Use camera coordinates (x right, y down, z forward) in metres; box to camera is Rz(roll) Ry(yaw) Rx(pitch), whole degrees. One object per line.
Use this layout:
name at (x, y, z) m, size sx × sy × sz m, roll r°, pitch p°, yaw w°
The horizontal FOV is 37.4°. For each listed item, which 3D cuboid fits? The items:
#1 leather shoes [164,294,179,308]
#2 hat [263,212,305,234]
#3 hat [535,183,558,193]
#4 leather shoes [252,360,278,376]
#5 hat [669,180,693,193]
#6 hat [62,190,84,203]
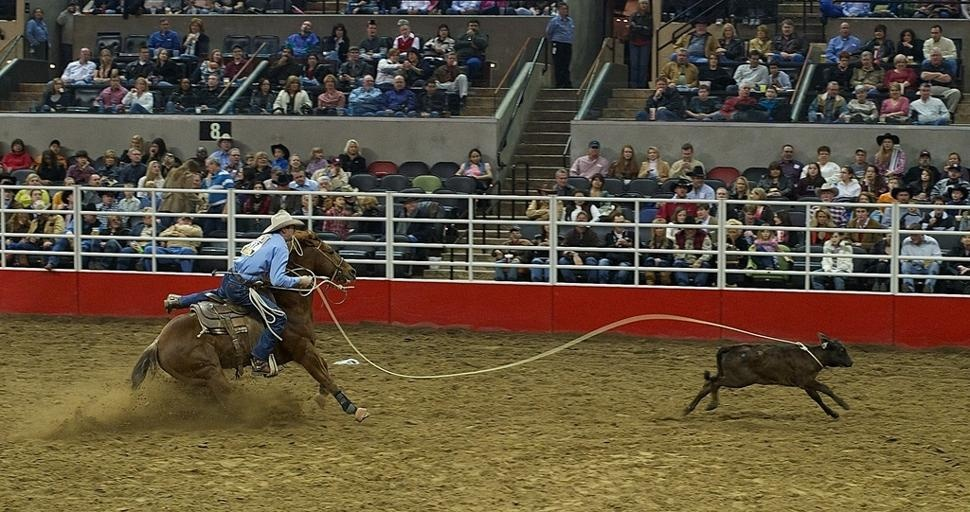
leather shoes at (-5.543, 0.804, 25.235) m, size 0.257 × 0.203 × 0.340 m, roll -1°, pitch 8°, yaw -25°
hat at (-3.613, -0.586, 25.293) m, size 0.613 × 0.196 × 0.479 m, roll -18°, pitch 6°, yaw 1°
hat at (1.392, -1.530, 32.407) m, size 0.418 × 0.121 × 0.421 m, roll 1°, pitch 1°, yaw -6°
leather shoes at (-3.886, 1.979, 25.306) m, size 0.475 × 0.255 × 0.232 m, roll -5°, pitch 2°, yaw -1°
hat at (4.159, -1.458, 30.204) m, size 0.393 × 0.125 × 0.350 m, roll 2°, pitch -28°, yaw 2°
hat at (-8.791, -1.248, 30.491) m, size 0.418 × 0.204 × 0.370 m, roll 0°, pitch 1°, yaw -11°
